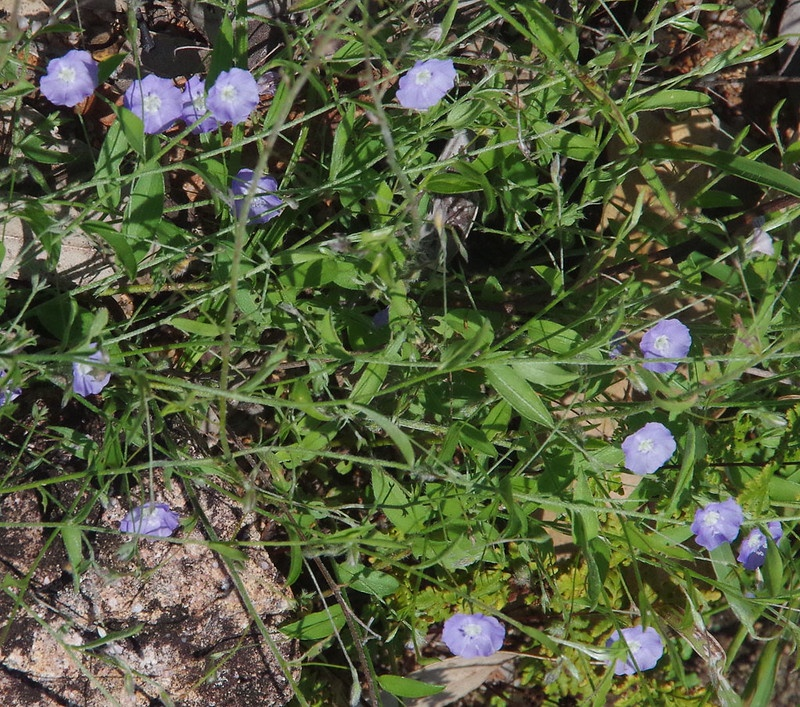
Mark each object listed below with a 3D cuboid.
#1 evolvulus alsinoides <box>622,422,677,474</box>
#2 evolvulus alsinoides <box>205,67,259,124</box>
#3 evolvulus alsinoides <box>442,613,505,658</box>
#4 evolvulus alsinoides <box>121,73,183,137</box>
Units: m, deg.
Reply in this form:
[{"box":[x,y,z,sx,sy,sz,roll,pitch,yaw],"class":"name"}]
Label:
[{"box":[0.597,0.209,1.765,0.138,0.043,0.135,-24,7,-7],"class":"evolvulus alsinoides"},{"box":[-0.409,-0.618,1.810,0.128,0.140,0.145,-12,-7,-9],"class":"evolvulus alsinoides"},{"box":[0.193,0.721,1.879,0.132,0.084,0.098,-10,-7,-14],"class":"evolvulus alsinoides"},{"box":[-0.598,-0.633,1.828,0.148,0.121,0.037,-1,-11,21],"class":"evolvulus alsinoides"}]
